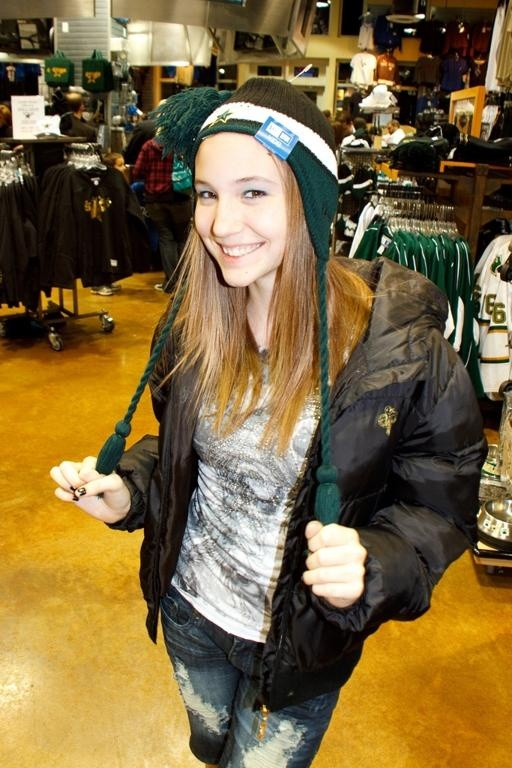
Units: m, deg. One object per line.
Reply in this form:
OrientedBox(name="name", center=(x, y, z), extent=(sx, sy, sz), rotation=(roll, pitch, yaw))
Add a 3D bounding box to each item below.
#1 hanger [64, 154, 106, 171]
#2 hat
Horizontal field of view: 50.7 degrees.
OrientedBox(name="hanger", center=(-1.519, -1.972, 4.824), extent=(0.252, 0.080, 0.247), rotation=(4, 12, -1))
OrientedBox(name="hat", center=(0.017, -0.294, 0.808), extent=(0.291, 0.281, 0.216), rotation=(1, 0, -25))
